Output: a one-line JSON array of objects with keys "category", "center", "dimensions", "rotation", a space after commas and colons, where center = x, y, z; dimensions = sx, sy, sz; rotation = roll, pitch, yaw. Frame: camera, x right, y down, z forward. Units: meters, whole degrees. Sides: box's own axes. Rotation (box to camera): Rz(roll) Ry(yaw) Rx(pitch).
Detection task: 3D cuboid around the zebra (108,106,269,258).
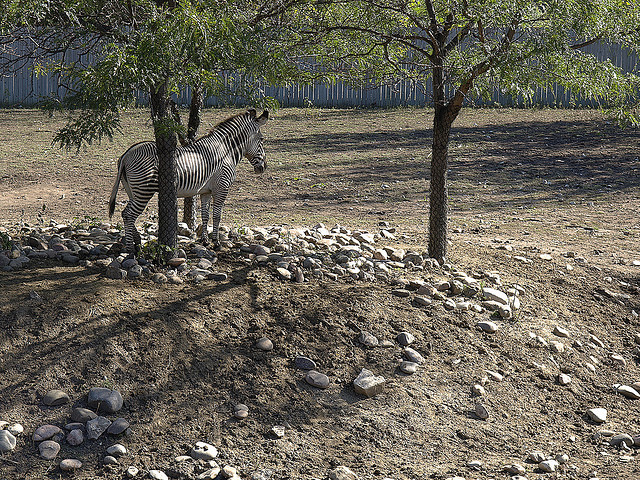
[{"category": "zebra", "center": [-1.723, -0.822, 9.409], "dimensions": [2.285, 1.950, 0.677], "rotation": [-7, 15, -30]}]
